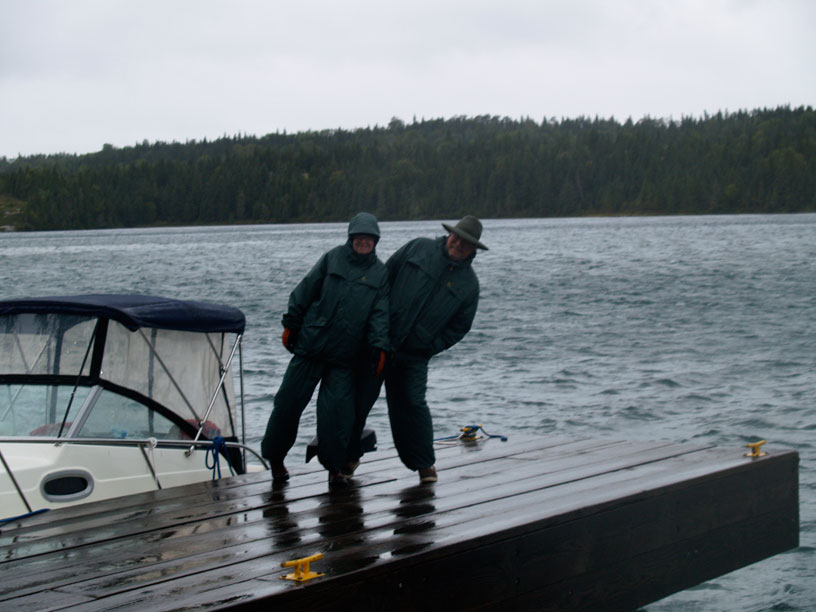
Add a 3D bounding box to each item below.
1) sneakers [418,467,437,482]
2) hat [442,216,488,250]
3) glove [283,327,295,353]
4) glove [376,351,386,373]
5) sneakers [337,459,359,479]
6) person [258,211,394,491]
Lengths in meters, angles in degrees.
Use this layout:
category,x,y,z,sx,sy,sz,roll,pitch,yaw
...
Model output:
category,x,y,z,sx,sy,sz,roll,pitch,yaw
sneakers,0.192,1.522,11.297,0.152,0.126,0.181,-1,5,0
hat,0.579,-0.662,11.405,0.389,0.155,0.332,29,-2,-37
glove,-1.087,0.306,11.377,0.053,0.193,0.144,3,5,25
glove,-0.223,0.486,11.151,0.087,0.184,0.188,-1,5,-1
sneakers,-0.529,1.497,11.451,0.087,0.093,0.240,7,39,10
person,-0.719,0.390,11.266,1.112,2.450,0.444,-1,5,-1
